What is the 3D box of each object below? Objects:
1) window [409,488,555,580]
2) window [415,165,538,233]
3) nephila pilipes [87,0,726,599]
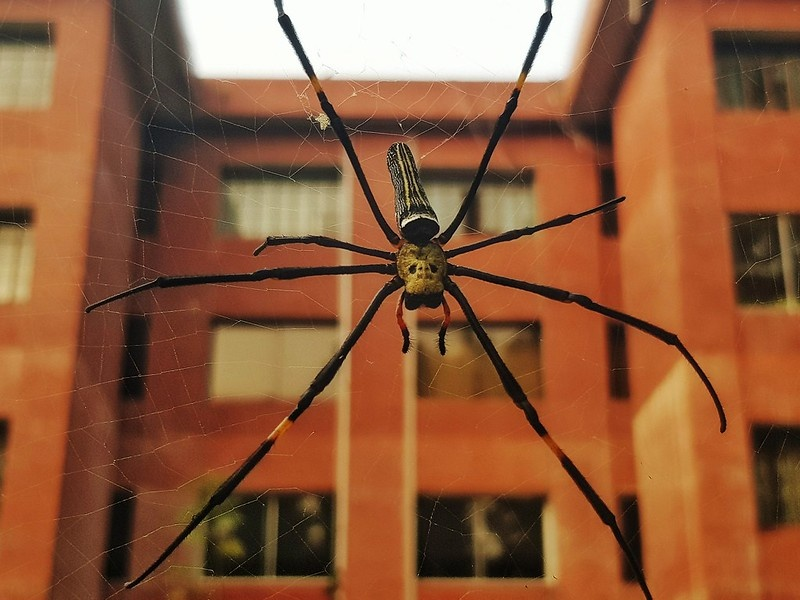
[{"bbox_3d":[0.561,1.705,6.763,0.899,0.617,0.052,-2,-31,10],"label":"window"},{"bbox_3d":[0.578,-0.711,6.812,0.583,0.374,0.064,2,7,16],"label":"window"},{"bbox_3d":[0.090,0.128,5.045,2.608,2.792,1.167,-3,-27,-1],"label":"nephila pilipes"}]
